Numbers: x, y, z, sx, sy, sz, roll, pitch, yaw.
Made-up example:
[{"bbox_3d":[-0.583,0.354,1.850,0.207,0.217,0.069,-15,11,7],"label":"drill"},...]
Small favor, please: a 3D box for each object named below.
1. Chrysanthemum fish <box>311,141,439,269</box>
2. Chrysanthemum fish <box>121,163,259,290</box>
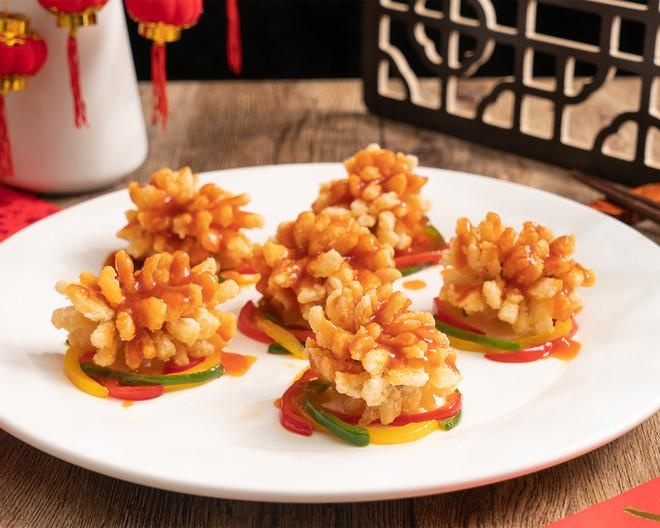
[{"bbox_3d":[0.071,-0.084,1.212,0.247,0.098,0.207,14,46,-17],"label":"Chrysanthemum fish"},{"bbox_3d":[-0.255,-0.065,1.133,0.225,0.092,0.192,-23,81,-25],"label":"Chrysanthemum fish"}]
